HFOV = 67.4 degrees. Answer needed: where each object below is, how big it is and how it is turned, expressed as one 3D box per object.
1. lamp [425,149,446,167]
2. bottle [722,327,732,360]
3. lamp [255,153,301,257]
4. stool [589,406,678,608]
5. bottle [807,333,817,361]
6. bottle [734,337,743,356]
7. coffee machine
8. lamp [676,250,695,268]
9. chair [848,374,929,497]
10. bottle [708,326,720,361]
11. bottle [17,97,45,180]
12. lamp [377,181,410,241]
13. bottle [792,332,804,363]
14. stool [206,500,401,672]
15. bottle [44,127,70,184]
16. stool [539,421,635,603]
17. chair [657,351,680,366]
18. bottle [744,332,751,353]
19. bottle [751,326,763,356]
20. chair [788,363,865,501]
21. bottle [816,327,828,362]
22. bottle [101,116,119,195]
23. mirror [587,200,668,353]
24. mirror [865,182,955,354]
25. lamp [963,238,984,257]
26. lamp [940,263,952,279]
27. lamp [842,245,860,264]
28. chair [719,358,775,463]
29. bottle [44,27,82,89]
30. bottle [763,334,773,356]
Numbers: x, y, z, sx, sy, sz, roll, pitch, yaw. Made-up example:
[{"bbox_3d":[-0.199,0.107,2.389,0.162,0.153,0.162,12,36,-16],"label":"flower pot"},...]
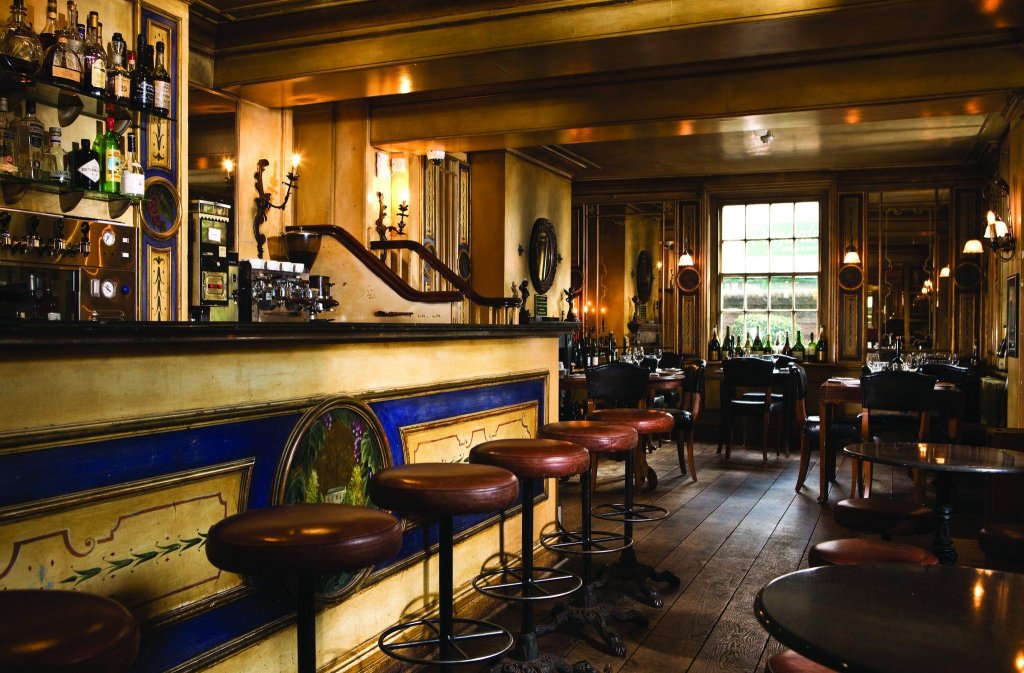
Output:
[{"bbox_3d":[-0.791,-1.899,8.007,0.215,0.152,0.221,-2,-5,18],"label":"lamp"},{"bbox_3d":[2.930,0.070,10.408,0.161,0.403,0.264,2,4,16],"label":"bottle"},{"bbox_3d":[-2.216,-1.189,7.322,0.396,1.193,0.237,-1,-20,-11],"label":"lamp"},{"bbox_3d":[0.682,1.032,4.673,0.583,0.952,0.574,-12,-7,43],"label":"stool"},{"bbox_3d":[3.926,0.137,10.077,0.129,0.350,0.171,2,4,16],"label":"bottle"},{"bbox_3d":[3.075,0.115,10.398,0.106,0.225,0.166,2,4,13],"label":"bottle"},{"bbox_3d":[-1.635,-0.436,5.662,0.585,0.648,0.772,11,8,31],"label":"coffee machine"},{"bbox_3d":[2.352,-1.055,10.391,0.210,0.165,0.214,0,-2,8],"label":"lamp"},{"bbox_3d":[3.096,0.754,6.301,0.545,1.105,0.677,1,13,14],"label":"chair"},{"bbox_3d":[2.736,0.101,10.427,0.175,0.442,0.243,1,4,-2],"label":"bottle"},{"bbox_3d":[-2.945,-1.225,4.707,0.142,0.482,0.107,0,4,-14],"label":"bottle"},{"bbox_3d":[-1.229,-1.236,7.929,0.346,0.530,0.644,0,4,-8],"label":"lamp"},{"bbox_3d":[3.745,0.115,10.089,0.156,0.382,0.240,2,4,21],"label":"bottle"},{"bbox_3d":[-0.680,0.674,2.662,0.604,0.670,0.606,1,-1,-38],"label":"stool"},{"bbox_3d":[-2.823,-1.127,4.780,0.125,0.347,0.196,2,4,11],"label":"bottle"},{"bbox_3d":[0.396,1.010,4.290,0.466,0.761,0.485,-1,-3,2],"label":"stool"},{"bbox_3d":[2.027,0.309,10.005,0.199,0.259,0.212,4,-9,-26],"label":"chair"},{"bbox_3d":[3.178,0.074,10.404,0.065,0.256,0.096,2,4,11],"label":"bottle"},{"bbox_3d":[3.291,0.039,10.338,0.128,0.346,0.163,-1,4,-27],"label":"bottle"},{"bbox_3d":[2.962,0.887,7.208,0.742,1.045,0.742,2,0,8],"label":"chair"},{"bbox_3d":[4.036,0.090,10.022,0.149,0.444,0.141,1,4,0],"label":"bottle"},{"bbox_3d":[-2.621,-1.192,5.044,0.097,0.498,0.286,-1,4,-28],"label":"bottle"},{"bbox_3d":[1.765,-0.900,11.463,1.234,2.043,1.450,2,4,15],"label":"mirror"},{"bbox_3d":[4.972,-0.775,9.693,0.095,2.181,1.018,-32,30,-35],"label":"mirror"},{"bbox_3d":[5.347,-1.036,8.920,0.274,0.204,0.278,-1,0,10],"label":"lamp"},{"bbox_3d":[5.310,-0.805,9.451,0.152,0.124,0.127,-2,4,11],"label":"lamp"},{"bbox_3d":[4.337,-1.055,9.830,0.220,0.228,0.210,-11,12,-28],"label":"lamp"},{"bbox_3d":[2.810,0.796,9.235,0.628,1.213,2.135,2,4,16],"label":"chair"},{"bbox_3d":[-2.703,-1.701,4.642,0.191,0.370,0.254,-1,4,-29],"label":"bottle"},{"bbox_3d":[3.424,0.106,10.287,0.139,0.238,0.108,2,4,10],"label":"bottle"}]
